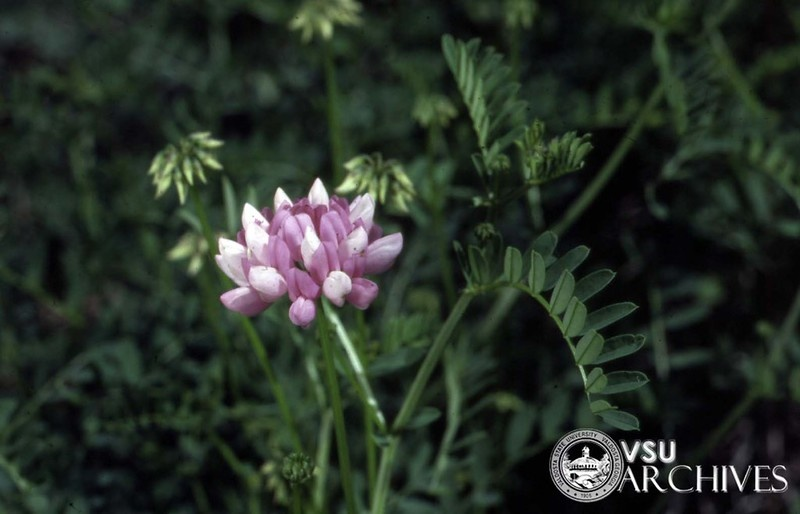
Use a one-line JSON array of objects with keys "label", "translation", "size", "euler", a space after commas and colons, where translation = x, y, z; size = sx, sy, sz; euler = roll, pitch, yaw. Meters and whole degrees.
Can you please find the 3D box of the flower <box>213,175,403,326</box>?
[{"label": "flower", "translation": [-0.143, -0.013, 1.267], "size": [0.235, 0.115, 0.229], "euler": [-29, 57, -19]}]
